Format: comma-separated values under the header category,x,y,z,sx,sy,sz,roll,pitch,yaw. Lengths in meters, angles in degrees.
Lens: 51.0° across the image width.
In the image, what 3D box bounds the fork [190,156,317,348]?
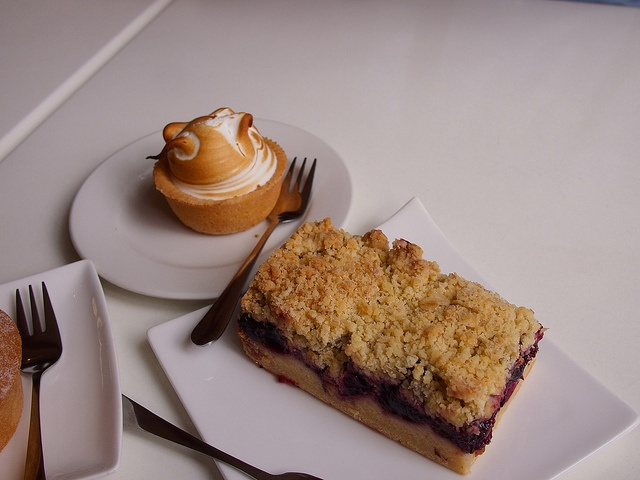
category,x,y,z,sx,sy,sz,roll,pitch,yaw
fork,-0.235,0.052,2.184,0.081,0.078,0.697,5,55,28

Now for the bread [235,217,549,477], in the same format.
category,x,y,z,sx,sy,sz,roll,pitch,yaw
bread,0.178,0.295,2.000,0.837,0.377,0.566,31,61,21

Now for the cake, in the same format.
category,x,y,z,sx,sy,sz,roll,pitch,yaw
cake,-0.339,-0.244,2.383,0.376,0.345,0.453,20,50,26
